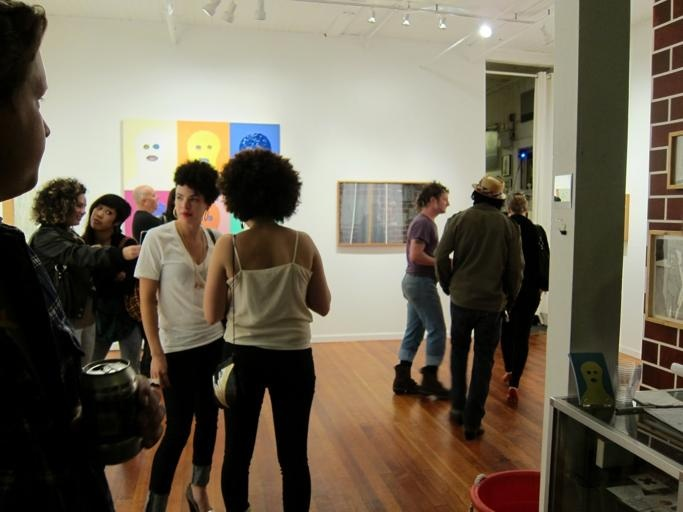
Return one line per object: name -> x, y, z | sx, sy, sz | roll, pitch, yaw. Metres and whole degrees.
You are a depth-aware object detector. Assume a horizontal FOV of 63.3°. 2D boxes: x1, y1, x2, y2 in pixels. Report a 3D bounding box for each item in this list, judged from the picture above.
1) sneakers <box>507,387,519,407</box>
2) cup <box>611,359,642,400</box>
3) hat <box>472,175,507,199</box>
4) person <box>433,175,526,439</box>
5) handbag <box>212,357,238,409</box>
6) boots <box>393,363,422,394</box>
sneakers -> 1.398, 1.148, 4.503 | 0.069, 0.159, 0.059 | 2, -6, 6
cup -> 1.048, 0.464, 2.075 | 0.103, 0.143, 0.117 | 1, -3, -20
hat -> 1.087, -0.513, 4.140 | 0.247, 0.127, 0.313 | 26, 6, -5
person -> 1.010, 0.333, 4.053 | 0.547, 1.817, 0.482 | -2, 5, -25
handbag -> -0.487, 0.533, 2.298 | 0.064, 0.186, 0.123 | 8, -15, -37
boots -> 0.543, 1.070, 4.827 | 0.289, 0.312, 0.145 | -1, 0, -21
